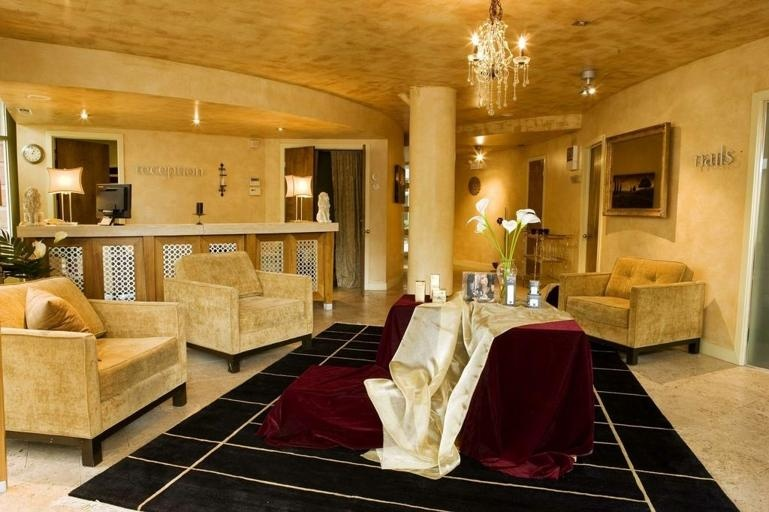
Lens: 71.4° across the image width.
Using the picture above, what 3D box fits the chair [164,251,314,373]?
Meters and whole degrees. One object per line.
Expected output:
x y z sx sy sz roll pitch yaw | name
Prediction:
-1.584 0.531 5.906 1.372 0.976 1.323 -4 11 -41 | chair

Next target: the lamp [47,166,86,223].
-4.395 -0.826 7.368 0.337 0.685 1.978 -4 6 -32 | lamp

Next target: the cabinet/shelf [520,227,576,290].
2.894 0.032 9.400 0.465 1.006 1.207 -1 3 -9 | cabinet/shelf

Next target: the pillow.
-2.623 0.474 4.264 0.328 0.382 0.537 -7 15 -41 | pillow

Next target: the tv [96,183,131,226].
-3.298 -0.647 6.539 0.362 0.492 0.418 -4 6 -27 | tv

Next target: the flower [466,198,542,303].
1.161 0.017 4.993 0.773 0.816 0.586 -7 8 -28 | flower

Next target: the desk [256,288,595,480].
0.483 0.963 4.258 1.914 0.604 1.532 1 4 7 | desk

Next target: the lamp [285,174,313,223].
-1.399 -0.932 8.784 0.393 0.688 1.640 -2 4 -10 | lamp

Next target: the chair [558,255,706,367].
2.756 0.513 6.288 1.338 1.132 1.382 0 2 -26 | chair
